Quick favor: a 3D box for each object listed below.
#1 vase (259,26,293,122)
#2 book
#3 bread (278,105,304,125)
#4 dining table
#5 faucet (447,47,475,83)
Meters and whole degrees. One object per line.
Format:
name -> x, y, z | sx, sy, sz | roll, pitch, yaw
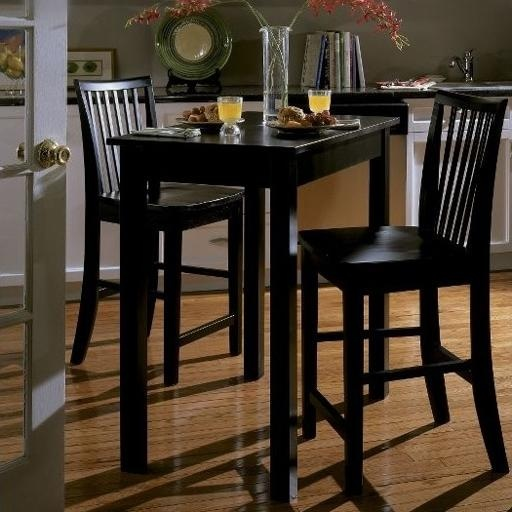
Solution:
vase -> 0.066, -0.609, 1.741 | 0.087, 0.296, 0.122 | -1, 10, 2
book -> 0.473, -1.154, 3.334 | 0.453, 0.495, 0.385 | 2, 7, 5
bread -> 0.095, -0.381, 1.394 | 0.075, 0.045, 0.057 | -1, 7, -44
dining table -> 0.006, 0.060, 1.508 | 0.520, 0.954, 0.765 | 5, 12, 30
faucet -> 1.422, -1.324, 3.574 | 0.166, 0.247, 0.315 | 3, 11, 21
